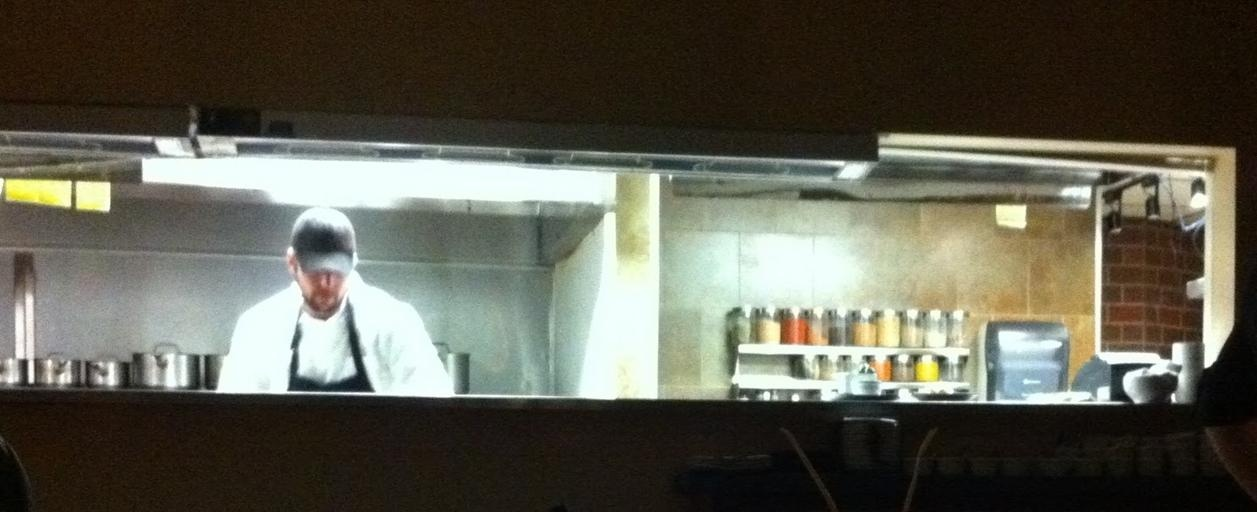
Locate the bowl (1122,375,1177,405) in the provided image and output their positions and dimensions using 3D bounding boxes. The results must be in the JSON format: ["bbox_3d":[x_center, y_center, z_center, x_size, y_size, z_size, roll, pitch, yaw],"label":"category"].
[{"bbox_3d":[2.670,0.679,9.909,0.258,0.151,0.053,-1,-10,9],"label":"bowl"}]

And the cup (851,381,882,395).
[{"bbox_3d":[1.227,0.683,10.033,0.130,0.044,0.098,0,-3,12],"label":"cup"}]

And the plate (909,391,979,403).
[{"bbox_3d":[1.613,0.724,9.982,0.310,0.049,0.173,-1,-6,5],"label":"plate"}]

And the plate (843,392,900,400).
[{"bbox_3d":[1.240,0.718,9.971,0.291,0.047,0.138,0,-6,-1],"label":"plate"}]
